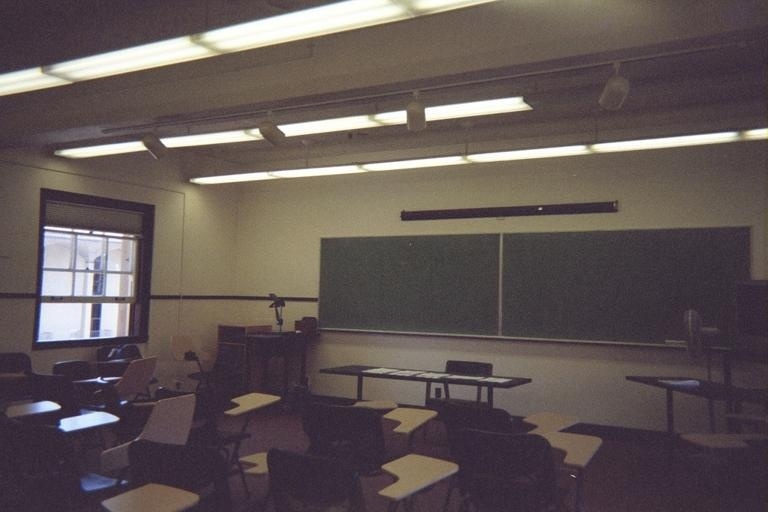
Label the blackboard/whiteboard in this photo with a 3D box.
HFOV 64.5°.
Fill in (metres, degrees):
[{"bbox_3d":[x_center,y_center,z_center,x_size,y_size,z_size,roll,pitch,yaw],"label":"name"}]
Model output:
[{"bbox_3d":[2.092,0.428,9.187,6.047,1.629,0.266,0,-4,20],"label":"blackboard/whiteboard"}]
